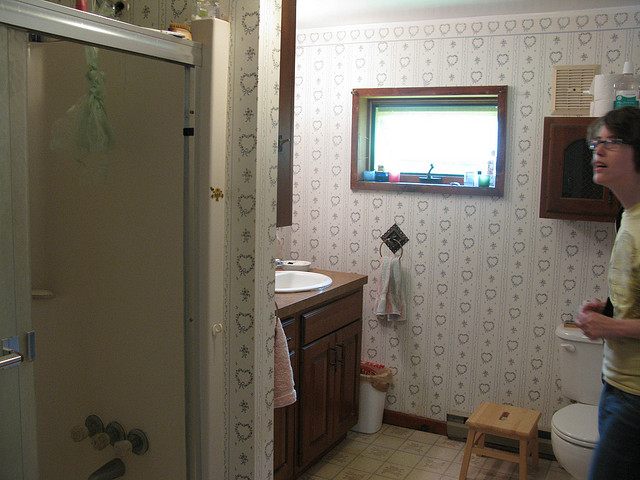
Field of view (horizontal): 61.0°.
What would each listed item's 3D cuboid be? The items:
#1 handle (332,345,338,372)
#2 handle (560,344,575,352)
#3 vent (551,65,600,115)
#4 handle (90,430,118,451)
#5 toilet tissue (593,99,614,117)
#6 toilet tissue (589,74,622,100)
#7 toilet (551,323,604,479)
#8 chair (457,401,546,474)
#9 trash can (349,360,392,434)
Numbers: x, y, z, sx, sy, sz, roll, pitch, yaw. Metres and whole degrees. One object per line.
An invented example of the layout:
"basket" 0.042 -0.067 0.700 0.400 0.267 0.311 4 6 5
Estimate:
"handle" 0.089 0.712 3.245 0.014 0.168 0.075 2 8 18
"handle" 1.403 0.600 3.057 0.048 0.026 0.037 17 0 19
"vent" 1.525 -0.900 3.253 0.257 0.328 0.039 4 -9 20
"handle" -0.729 0.668 1.825 0.047 0.039 0.079 24 24 25
"toilet tissue" 1.576 -0.738 3.014 0.097 0.095 0.062 3 9 24
"toilet tissue" 1.569 -0.860 3.003 0.126 0.147 0.142 -4 7 -25
"toilet" 1.394 0.866 2.945 0.248 0.688 0.563 3 9 25
"chair" 1.103 1.182 3.279 0.437 0.422 0.463 5 13 25
"trash can" 0.312 1.114 3.814 0.371 0.399 0.372 -1 0 24
